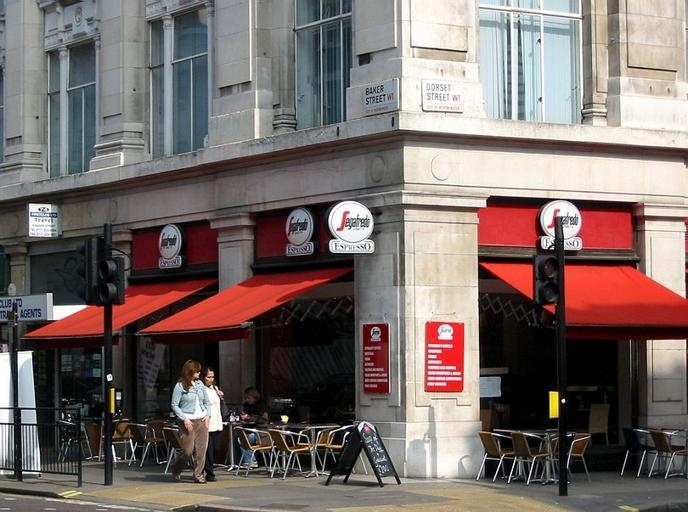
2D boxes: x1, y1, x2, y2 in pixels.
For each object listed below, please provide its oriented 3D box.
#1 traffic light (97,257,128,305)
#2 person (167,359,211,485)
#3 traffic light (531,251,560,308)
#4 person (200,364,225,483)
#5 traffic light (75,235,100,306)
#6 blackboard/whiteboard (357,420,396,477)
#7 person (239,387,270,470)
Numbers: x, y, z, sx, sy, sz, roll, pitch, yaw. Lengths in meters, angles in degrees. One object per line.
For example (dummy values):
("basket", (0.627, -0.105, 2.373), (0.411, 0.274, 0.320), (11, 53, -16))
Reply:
("traffic light", (-4.674, 0.510, 33.032), (0.518, 0.960, 0.349), (3, -9, -20))
("person", (-3.097, 3.412, 33.553), (0.850, 2.496, 0.900), (-1, 3, -20))
("traffic light", (3.949, 0.480, 31.674), (0.493, 0.959, 0.345), (1, -9, -10))
("person", (-2.742, 3.453, 34.333), (0.674, 2.216, 0.694), (-11, 15, -40))
("traffic light", (-5.155, 0.341, 33.118), (0.441, 1.336, 0.630), (2, -9, -19))
("blackboard/whiteboard", (0.660, 3.911, 32.863), (0.409, 1.132, 1.066), (-7, -11, 37))
("person", (-1.957, 3.665, 35.874), (0.617, 1.568, 0.753), (4, 5, 23))
